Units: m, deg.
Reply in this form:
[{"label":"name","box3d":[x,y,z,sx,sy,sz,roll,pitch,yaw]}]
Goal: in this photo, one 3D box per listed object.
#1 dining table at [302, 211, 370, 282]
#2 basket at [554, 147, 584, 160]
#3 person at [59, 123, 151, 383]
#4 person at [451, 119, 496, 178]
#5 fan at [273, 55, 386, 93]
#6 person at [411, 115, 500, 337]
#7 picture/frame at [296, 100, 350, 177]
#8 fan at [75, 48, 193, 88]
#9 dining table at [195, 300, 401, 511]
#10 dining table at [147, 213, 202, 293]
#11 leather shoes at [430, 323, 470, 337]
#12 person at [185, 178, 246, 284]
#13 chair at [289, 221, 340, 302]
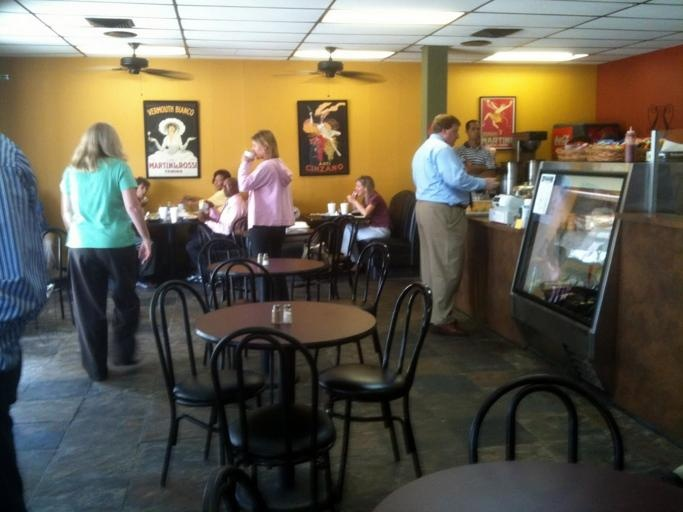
[{"label":"dining table","box3d":[-0.147,0.004,5.724,0.481,0.650,0.484,7,4,-1]},{"label":"basket","box3d":[1.762,-0.799,4.313,0.109,0.102,0.314,-4,16,-8]},{"label":"person","box3d":[-1.821,-0.025,4.316,0.624,1.947,0.446,-13,20,-34]},{"label":"person","box3d":[1.842,-1.489,7.781,0.606,0.826,0.496,2,3,-1]},{"label":"fan","box3d":[-0.222,-2.535,7.515,1.342,0.385,2.063,-3,16,-5]},{"label":"person","box3d":[0.980,-0.288,5.155,0.491,1.960,0.668,-5,17,-12]},{"label":"picture/frame","box3d":[-0.271,-1.807,8.507,0.755,1.111,0.265,-2,17,-2]},{"label":"fan","box3d":[-2.478,-2.518,7.225,0.866,0.423,1.593,-6,17,-17]},{"label":"dining table","box3d":[-0.208,0.707,3.163,1.016,1.025,0.998,-2,2,-4]},{"label":"dining table","box3d":[-2.444,-0.118,7.716,0.881,0.938,0.886,3,-4,-12]},{"label":"leather shoes","box3d":[0.998,0.677,5.153,0.324,0.145,0.117,0,3,6]},{"label":"person","box3d":[-1.627,-0.355,7.214,0.784,1.388,0.612,2,18,-9]},{"label":"chair","box3d":[-0.260,0.116,5.638,0.536,0.815,0.529,0,1,-32]}]
